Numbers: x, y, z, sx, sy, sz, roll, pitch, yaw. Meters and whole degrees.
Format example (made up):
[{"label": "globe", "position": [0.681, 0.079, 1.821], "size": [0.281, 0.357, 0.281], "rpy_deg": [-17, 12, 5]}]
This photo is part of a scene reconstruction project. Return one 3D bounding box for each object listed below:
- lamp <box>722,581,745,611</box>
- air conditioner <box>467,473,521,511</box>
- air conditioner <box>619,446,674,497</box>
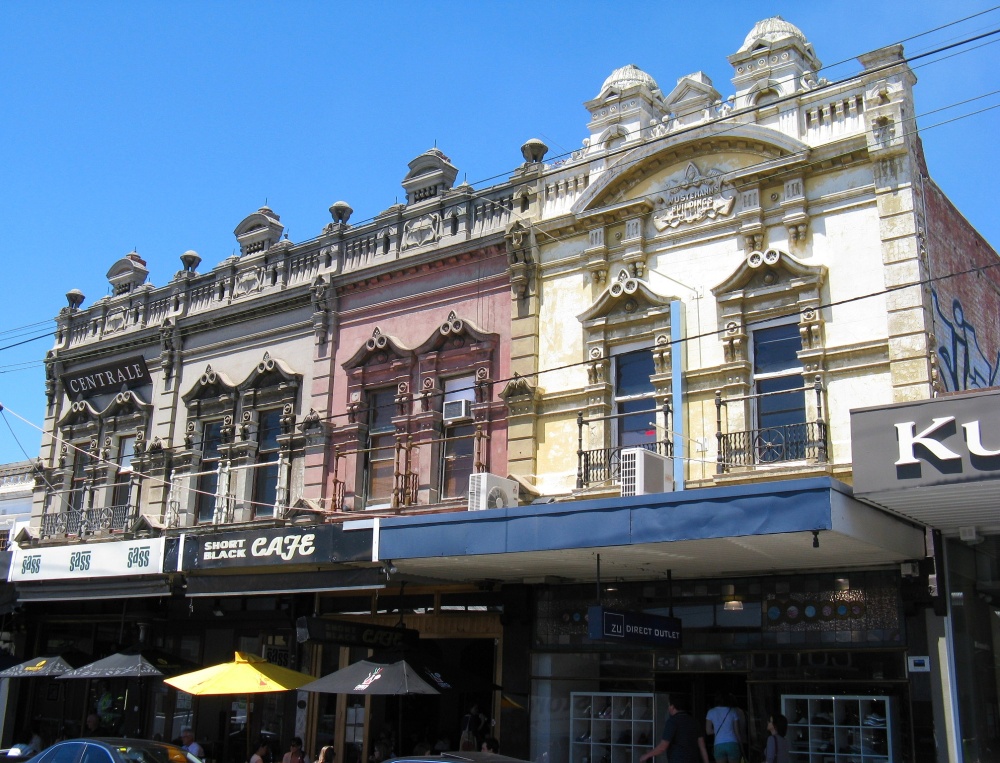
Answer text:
[{"label": "lamp", "position": [4.045, 3.751, 19.034], "size": [0.417, 0.411, 0.415], "rpy_deg": [0, -10, 1]}, {"label": "air conditioner", "position": [-0.121, 2.098, 20.359], "size": [0.334, 0.699, 1.040], "rpy_deg": [-17, -25, 40]}, {"label": "air conditioner", "position": [2.519, 1.567, 18.742], "size": [0.801, 0.732, 0.423], "rpy_deg": [13, -21, -40]}]
